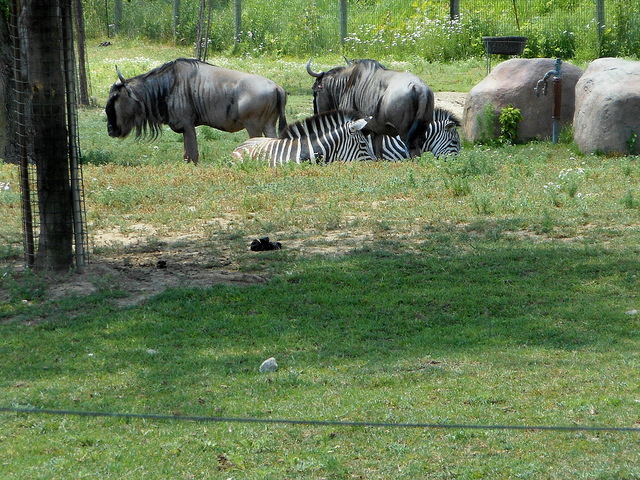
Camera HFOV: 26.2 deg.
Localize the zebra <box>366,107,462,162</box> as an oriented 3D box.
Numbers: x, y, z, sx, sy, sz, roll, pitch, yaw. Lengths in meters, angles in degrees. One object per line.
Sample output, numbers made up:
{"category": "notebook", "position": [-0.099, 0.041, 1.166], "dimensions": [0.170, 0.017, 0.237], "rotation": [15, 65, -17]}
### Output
{"category": "zebra", "position": [1.780, -1.774, 24.880], "dimensions": [0.635, 1.162, 2.125], "rotation": [7, 0, 44]}
